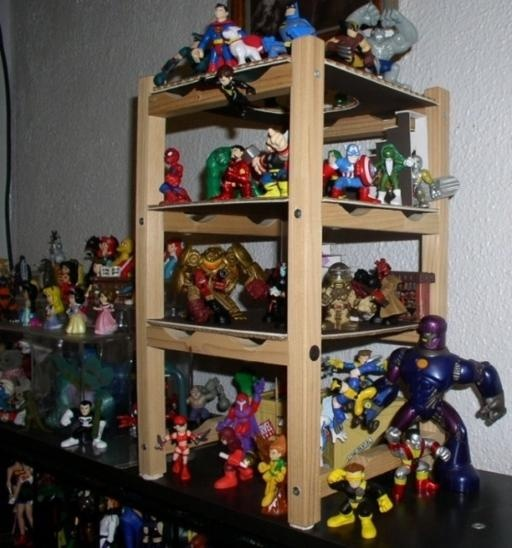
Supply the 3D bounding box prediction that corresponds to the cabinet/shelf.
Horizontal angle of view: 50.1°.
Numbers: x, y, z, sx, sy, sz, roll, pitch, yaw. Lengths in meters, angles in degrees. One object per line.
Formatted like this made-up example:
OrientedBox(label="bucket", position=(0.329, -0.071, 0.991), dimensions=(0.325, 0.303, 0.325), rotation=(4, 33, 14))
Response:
OrientedBox(label="cabinet/shelf", position=(0.026, 0.066, 1.656), dimensions=(1.304, 1.083, 1.010), rotation=(4, 1, 44))
